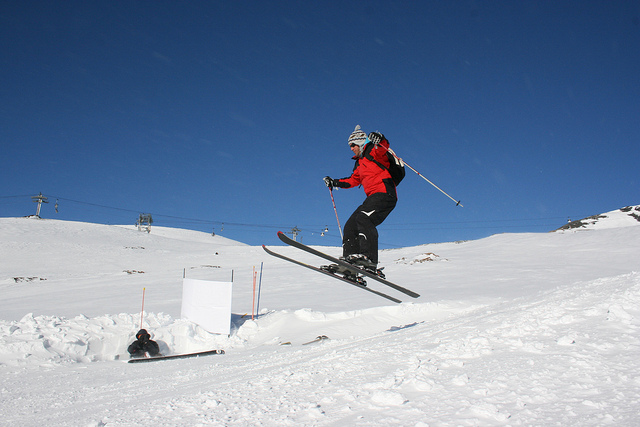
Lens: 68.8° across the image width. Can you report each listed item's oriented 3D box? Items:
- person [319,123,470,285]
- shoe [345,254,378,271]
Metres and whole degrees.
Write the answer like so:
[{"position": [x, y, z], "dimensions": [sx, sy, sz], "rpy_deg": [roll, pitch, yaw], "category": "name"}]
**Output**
[{"position": [1.052, -0.287, 9.538], "dimensions": [1.351, 3.180, 0.847], "rpy_deg": [-3, -8, 9], "category": "person"}, {"position": [0.841, 0.958, 9.401], "dimensions": [0.681, 0.218, 0.285], "rpy_deg": [18, -6, -2], "category": "shoe"}]
